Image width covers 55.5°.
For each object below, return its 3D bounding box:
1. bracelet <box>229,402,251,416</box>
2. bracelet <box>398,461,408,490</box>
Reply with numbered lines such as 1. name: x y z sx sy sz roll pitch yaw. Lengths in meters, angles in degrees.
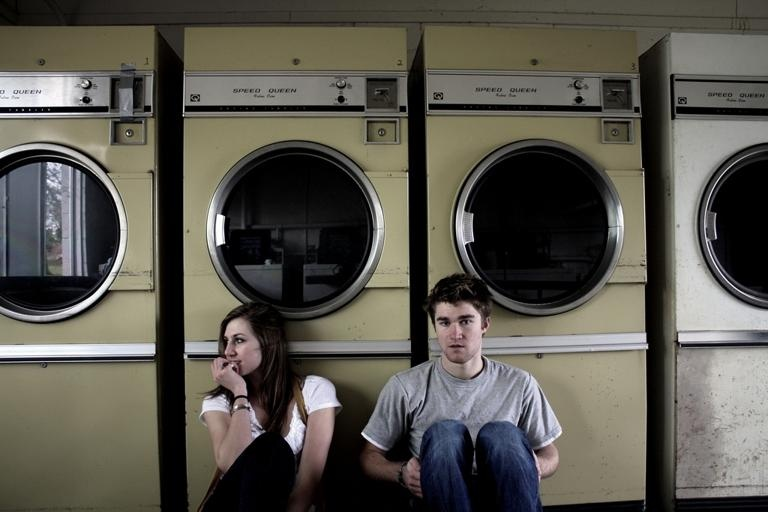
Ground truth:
1. bracelet: -0.801 0.853 4.104 0.113 0.078 0.111 1 6 -12
2. bracelet: 0.104 1.181 3.968 0.048 0.122 0.050 4 5 20
